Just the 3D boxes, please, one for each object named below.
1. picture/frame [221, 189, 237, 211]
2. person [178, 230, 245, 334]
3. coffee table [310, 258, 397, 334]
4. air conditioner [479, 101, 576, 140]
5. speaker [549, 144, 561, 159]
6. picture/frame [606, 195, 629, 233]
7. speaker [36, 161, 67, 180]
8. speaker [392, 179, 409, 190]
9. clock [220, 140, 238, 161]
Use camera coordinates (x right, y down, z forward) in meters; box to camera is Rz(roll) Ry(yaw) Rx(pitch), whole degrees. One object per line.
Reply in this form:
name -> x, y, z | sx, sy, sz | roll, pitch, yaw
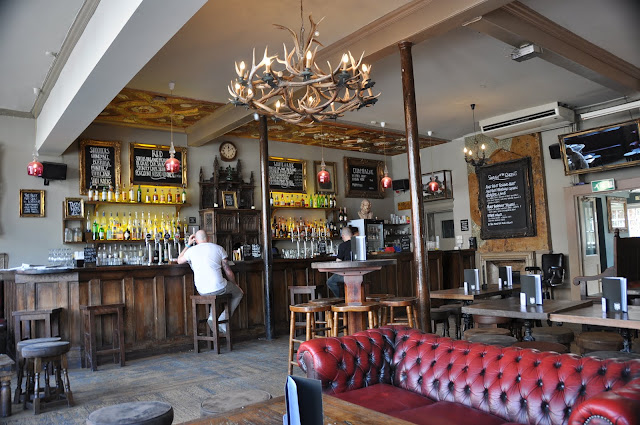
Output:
picture/frame -> -2.201, -0.292, 11.343 | 0.524, 0.562, 0.063 | 6, -20, -35
person -> -1.920, 1.218, 8.278 | 1.058, 1.823, 0.621 | -1, -6, -20
coffee table -> 0.453, 1.061, 6.336 | 1.098, 1.023, 1.054 | -7, -9, 38
air conditioner -> 4.943, -2.191, 11.279 | 1.838, 0.451, 0.844 | -7, -6, 43
speaker -> 5.556, -1.468, 11.222 | 0.236, 0.360, 0.347 | -6, -6, 25
picture/frame -> 6.904, 0.043, 11.008 | 0.415, 0.857, 0.494 | -6, -6, 30
speaker -> -5.465, -0.860, 9.708 | 0.641, 0.504, 0.336 | 2, 6, -38
speaker -> 2.277, -0.799, 13.355 | 0.227, 0.260, 0.405 | 11, -10, -22
clock -> -2.259, -1.532, 11.650 | 0.455, 0.426, 0.441 | -9, 1, 41
